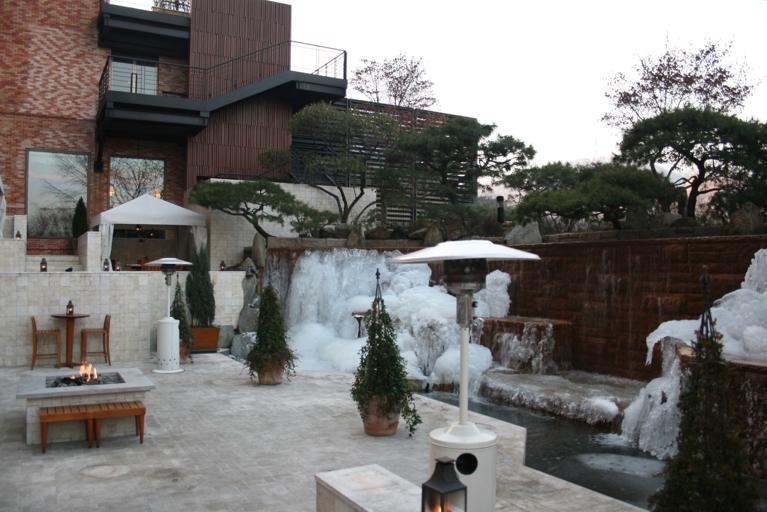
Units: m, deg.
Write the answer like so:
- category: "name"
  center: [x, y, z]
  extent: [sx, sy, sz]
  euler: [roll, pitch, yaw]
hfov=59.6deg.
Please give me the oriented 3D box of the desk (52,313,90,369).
- category: "desk"
  center: [-8.597, 2.394, 18.305]
  extent: [1.022, 1.370, 1.018]
  euler: [2, -6, -26]

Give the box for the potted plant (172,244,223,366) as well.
- category: "potted plant"
  center: [-5.816, 1.436, 20.654]
  extent: [1.278, 3.480, 2.712]
  euler: [-1, 9, -13]

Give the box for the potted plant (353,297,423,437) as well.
- category: "potted plant"
  center: [-0.011, 2.309, 13.704]
  extent: [1.192, 2.759, 0.693]
  euler: [1, 8, -2]

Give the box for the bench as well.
- category: "bench"
  center: [-5.810, 3.403, 13.355]
  extent: [1.904, 0.803, 0.597]
  euler: [3, 3, -32]

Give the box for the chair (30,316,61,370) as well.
- category: "chair"
  center: [-9.224, 2.386, 18.302]
  extent: [0.907, 1.321, 0.941]
  euler: [1, 0, 24]

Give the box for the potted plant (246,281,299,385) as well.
- category: "potted plant"
  center: [-2.868, 2.022, 16.819]
  extent: [1.105, 2.557, 0.505]
  euler: [-1, 9, -13]

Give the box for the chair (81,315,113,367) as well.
- category: "chair"
  center: [-7.991, 2.374, 18.486]
  extent: [0.806, 1.315, 0.841]
  euler: [-1, -1, -11]
